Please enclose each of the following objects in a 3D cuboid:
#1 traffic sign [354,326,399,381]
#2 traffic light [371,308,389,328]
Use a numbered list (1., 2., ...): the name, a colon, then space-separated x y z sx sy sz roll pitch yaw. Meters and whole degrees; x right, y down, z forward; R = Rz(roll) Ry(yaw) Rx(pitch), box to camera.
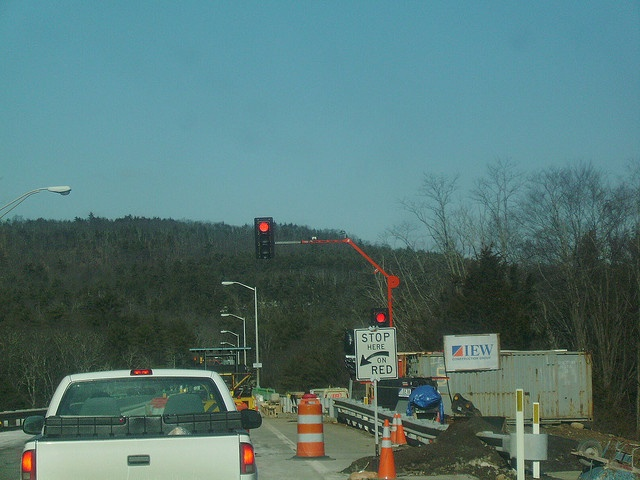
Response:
1. traffic sign: 2.880 5.895 63.136 2.144 2.712 0.497 0 -7 -5
2. traffic light: 3.510 4.461 70.519 0.827 1.158 0.963 0 1 6
